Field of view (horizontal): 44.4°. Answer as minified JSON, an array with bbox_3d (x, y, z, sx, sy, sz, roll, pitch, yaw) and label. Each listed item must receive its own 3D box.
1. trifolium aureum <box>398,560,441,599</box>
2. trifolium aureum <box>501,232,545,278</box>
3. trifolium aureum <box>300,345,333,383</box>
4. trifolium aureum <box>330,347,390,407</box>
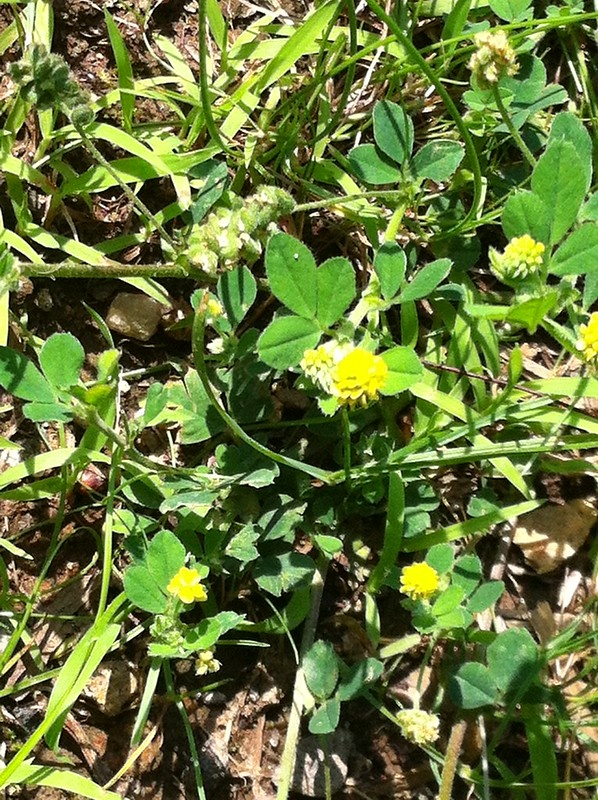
[{"bbox_3d":[0.256,0.388,1.607,0.095,0.042,0.084,-6,78,9],"label":"trifolium aureum"},{"bbox_3d":[0.474,-0.314,1.558,0.078,0.081,0.097,10,69,1],"label":"trifolium aureum"},{"bbox_3d":[0.031,-0.066,1.333,0.065,0.034,0.061,12,73,4],"label":"trifolium aureum"},{"bbox_3d":[0.107,-0.042,1.274,0.114,0.043,0.095,-6,93,0],"label":"trifolium aureum"}]
